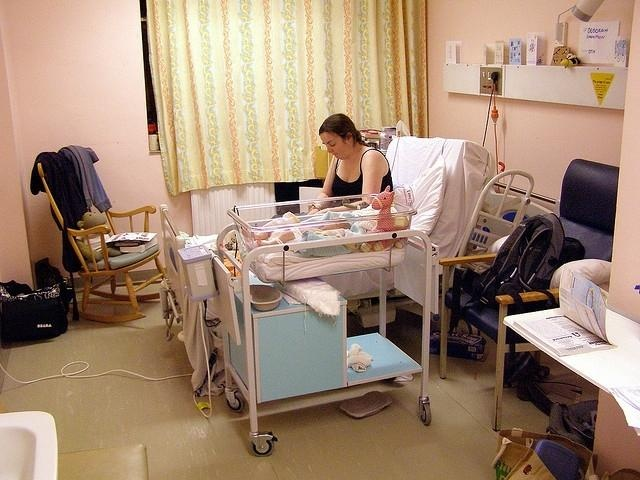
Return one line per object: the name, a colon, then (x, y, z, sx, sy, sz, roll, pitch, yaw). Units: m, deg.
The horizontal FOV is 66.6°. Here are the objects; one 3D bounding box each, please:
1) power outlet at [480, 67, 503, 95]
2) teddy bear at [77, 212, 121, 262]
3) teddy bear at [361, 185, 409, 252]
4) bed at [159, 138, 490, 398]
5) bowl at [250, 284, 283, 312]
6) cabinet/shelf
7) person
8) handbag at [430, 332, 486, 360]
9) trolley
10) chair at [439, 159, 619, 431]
power outlet: (1.340, -1.248, 3.797, 0.073, 0.206, 0.227, -2, 11, -12)
teddy bear: (-1.867, -0.048, 4.056, 0.291, 0.367, 0.389, -15, 22, -26)
teddy bear: (0.340, -0.106, 2.696, 0.337, 0.369, 0.192, -3, 7, -24)
bed: (0.072, -0.038, 3.610, 1.944, 1.334, 1.250, -3, 6, -19)
bowl: (-0.273, 0.286, 2.485, 0.158, 0.041, 0.262, -8, 20, -6)
cabinet/shelf: (0.024, 0.384, 3.112, 1.329, 1.338, 0.984, -4, 14, -19)
person: (-0.117, -0.523, 3.582, 1.027, 1.107, 0.660, -12, 21, -25)
handbag: (0.930, 0.693, 3.268, 0.321, 0.115, 0.189, 3, 10, 15)
trolley: (0.105, 0.384, 3.092, 1.339, 1.358, 0.933, -5, 14, -19)
chair: (1.220, 0.273, 2.901, 0.872, 1.381, 0.835, -4, 17, -20)
